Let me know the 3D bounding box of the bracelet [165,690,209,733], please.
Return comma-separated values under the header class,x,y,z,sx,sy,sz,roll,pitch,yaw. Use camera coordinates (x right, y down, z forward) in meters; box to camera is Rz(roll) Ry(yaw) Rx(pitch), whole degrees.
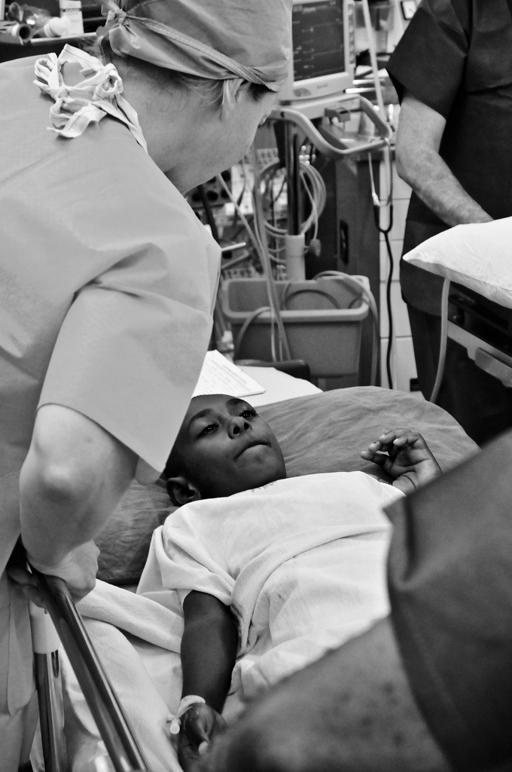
class,x,y,z,sx,sy,sz,roll,pitch,yaw
bracelet,-0.093,0.403,0.840,0.025,0.044,0.015,27,10,13
